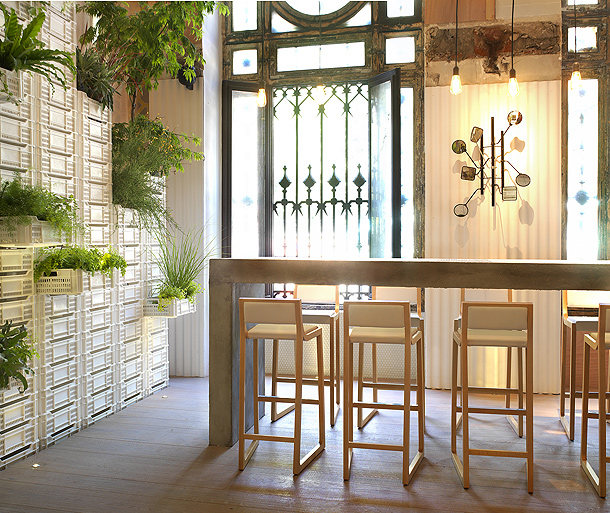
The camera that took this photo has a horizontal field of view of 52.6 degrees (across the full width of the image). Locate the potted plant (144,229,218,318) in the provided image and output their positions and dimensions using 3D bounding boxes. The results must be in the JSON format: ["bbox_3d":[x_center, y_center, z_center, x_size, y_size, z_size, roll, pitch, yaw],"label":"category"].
[{"bbox_3d":[-1.215,0.223,5.763,0.390,0.740,0.484,1,-1,10],"label":"potted plant"}]

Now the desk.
[{"bbox_3d":[0.543,0.947,6.321,3.471,1.287,1.859,3,-8,6],"label":"desk"}]
